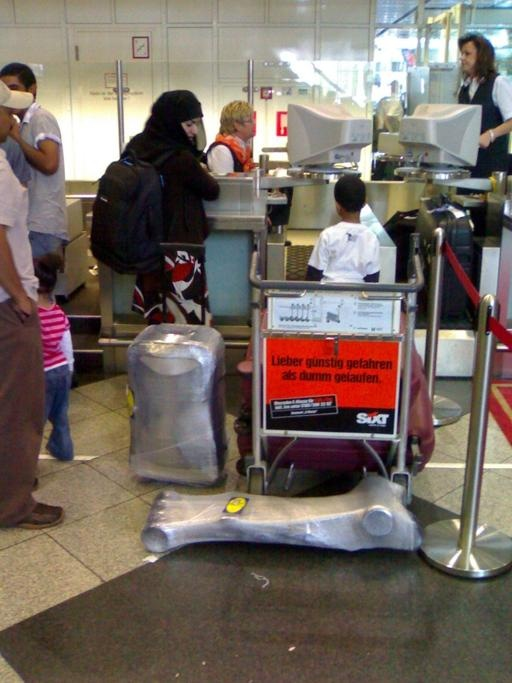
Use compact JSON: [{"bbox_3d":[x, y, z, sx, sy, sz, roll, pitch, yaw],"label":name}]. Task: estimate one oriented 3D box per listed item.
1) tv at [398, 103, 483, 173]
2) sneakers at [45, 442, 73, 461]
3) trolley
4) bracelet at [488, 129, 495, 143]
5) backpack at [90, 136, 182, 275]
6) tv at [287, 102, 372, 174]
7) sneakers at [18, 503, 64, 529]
[{"bbox_3d":[1.070,-1.198,3.386,0.388,0.328,0.388,-10,25,-23],"label":"tv"},{"bbox_3d":[-0.985,0.548,2.908,0.134,0.086,0.082,6,10,30],"label":"sneakers"},{"bbox_3d":[0.351,0.156,2.544,0.919,0.598,0.737,0,29,3],"label":"trolley"},{"bbox_3d":[1.740,-1.546,4.325,0.043,0.084,0.145,4,13,21],"label":"bracelet"},{"bbox_3d":[-0.763,-0.868,3.619,0.530,0.779,0.429,25,26,39],"label":"backpack"},{"bbox_3d":[0.378,-1.080,3.056,0.389,0.282,0.369,-9,27,-25],"label":"tv"},{"bbox_3d":[-0.850,0.695,2.356,0.187,0.078,0.076,-2,11,-12],"label":"sneakers"}]
